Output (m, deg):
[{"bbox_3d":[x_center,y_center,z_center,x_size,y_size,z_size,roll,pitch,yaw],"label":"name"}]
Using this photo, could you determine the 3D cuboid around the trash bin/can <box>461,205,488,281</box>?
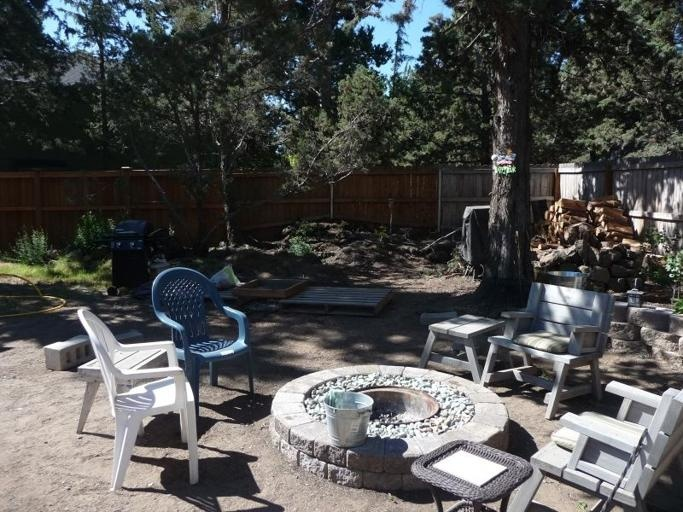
[{"bbox_3d":[2.779,-0.264,11.364,0.470,1.445,0.383,-2,14,-5],"label":"trash bin/can"}]

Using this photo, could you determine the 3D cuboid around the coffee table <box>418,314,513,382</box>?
[{"bbox_3d":[1.439,0.991,6.389,0.857,0.537,0.840,-6,6,-42],"label":"coffee table"}]

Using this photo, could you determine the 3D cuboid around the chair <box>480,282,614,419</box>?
[{"bbox_3d":[2.157,1.107,6.333,1.345,1.697,1.395,-1,3,-30],"label":"chair"}]

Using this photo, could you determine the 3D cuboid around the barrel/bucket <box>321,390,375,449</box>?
[{"bbox_3d":[0.024,1.325,4.510,0.399,0.332,0.434,1,-1,0],"label":"barrel/bucket"}]

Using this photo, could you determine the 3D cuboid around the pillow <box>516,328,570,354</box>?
[{"bbox_3d":[2.154,0.903,5.823,0.375,0.128,0.548,-12,18,-40],"label":"pillow"}]
